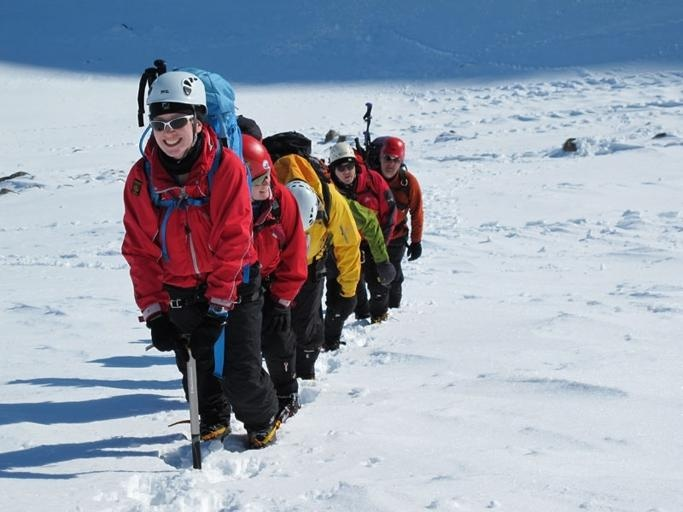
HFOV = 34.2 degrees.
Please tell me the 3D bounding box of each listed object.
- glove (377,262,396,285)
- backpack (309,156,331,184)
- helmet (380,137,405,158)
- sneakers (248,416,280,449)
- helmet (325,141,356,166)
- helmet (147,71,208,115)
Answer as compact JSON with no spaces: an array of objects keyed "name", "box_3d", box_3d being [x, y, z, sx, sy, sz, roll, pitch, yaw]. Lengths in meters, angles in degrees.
[{"name":"glove","box_3d":[0.687,0.248,16.791,0.338,0.318,0.120,-10,21,-28]},{"name":"backpack","box_3d":[-0.286,-1.171,14.916,0.288,0.345,0.455,1,10,-2]},{"name":"helmet","box_3d":[0.834,-1.720,17.532,0.365,0.230,0.397,11,14,1]},{"name":"sneakers","box_3d":[-0.901,2.170,13.733,0.210,0.210,0.570,6,19,31]},{"name":"helmet","box_3d":[-0.007,-1.514,16.208,0.378,0.367,0.300,-2,44,-2]},{"name":"helmet","box_3d":[-1.960,-1.939,13.154,0.712,0.522,0.357,0,11,-8]}]
